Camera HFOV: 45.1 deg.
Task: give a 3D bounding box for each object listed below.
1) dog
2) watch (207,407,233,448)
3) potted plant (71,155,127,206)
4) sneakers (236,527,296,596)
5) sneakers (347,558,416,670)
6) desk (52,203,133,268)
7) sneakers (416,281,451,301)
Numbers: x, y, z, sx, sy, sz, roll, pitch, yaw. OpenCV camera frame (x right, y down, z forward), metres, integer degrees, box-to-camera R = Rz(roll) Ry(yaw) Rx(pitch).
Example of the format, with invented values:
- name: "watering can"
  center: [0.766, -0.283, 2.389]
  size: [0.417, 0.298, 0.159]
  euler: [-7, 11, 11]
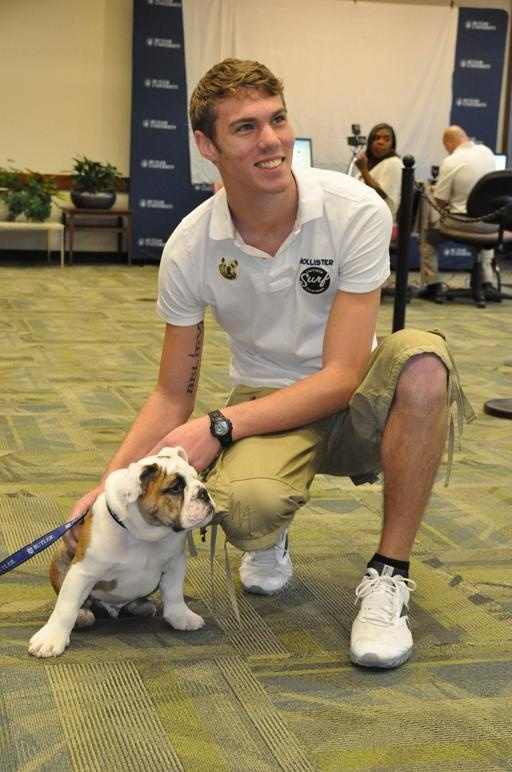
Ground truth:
- name: "dog"
  center: [-0.250, 0.340, 1.190]
  size: [0.314, 0.314, 0.251]
  euler: [-6, 25, -25]
- name: "watch"
  center: [-0.073, 0.089, 1.253]
  size: [0.049, 0.066, 0.048]
  euler: [1, 15, -5]
- name: "potted plant"
  center: [-2.282, -2.775, 8.716]
  size: [0.791, 0.684, 0.777]
  euler: [3, 6, 5]
- name: "sneakers"
  center: [0.036, 0.423, 1.502]
  size: [0.087, 0.118, 0.179]
  euler: [-1, 5, 10]
- name: "sneakers"
  center: [0.241, 0.418, 1.144]
  size: [0.086, 0.080, 0.211]
  euler: [-1, 17, 9]
- name: "desk"
  center: [-2.284, -2.215, 8.955]
  size: [1.178, 0.656, 1.175]
  euler: [14, 20, 31]
- name: "sneakers"
  center: [2.003, -1.041, 6.895]
  size: [0.215, 0.111, 0.328]
  euler: [0, -1, -16]
